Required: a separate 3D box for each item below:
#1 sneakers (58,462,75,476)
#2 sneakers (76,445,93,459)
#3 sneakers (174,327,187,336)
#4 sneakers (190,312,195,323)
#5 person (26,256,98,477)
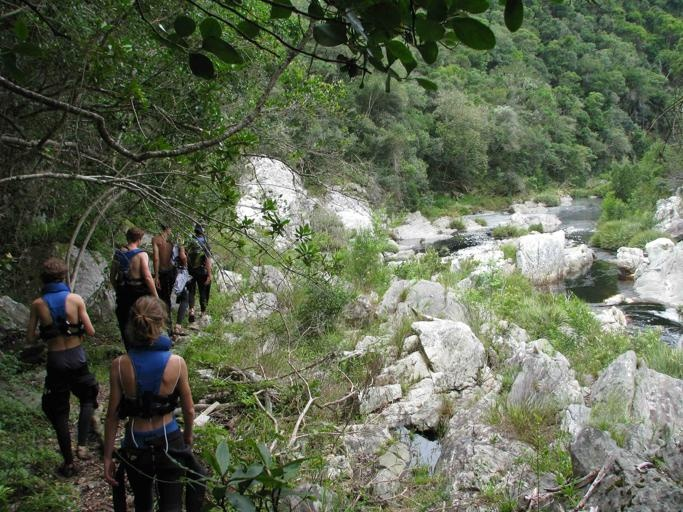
[{"bbox_3d":[-2.907,2.229,5.764,0.077,0.197,0.092,15,11,-40],"label":"sneakers"},{"bbox_3d":[-2.820,2.120,5.991,0.167,0.188,0.108,3,0,-31],"label":"sneakers"},{"bbox_3d":[-2.616,1.203,8.836,0.196,0.158,0.109,2,6,-16],"label":"sneakers"},{"bbox_3d":[-2.578,1.048,9.385,0.057,0.190,0.080,1,31,-1],"label":"sneakers"},{"bbox_3d":[-3.013,1.155,5.892,0.620,2.247,0.415,3,5,18],"label":"person"}]
